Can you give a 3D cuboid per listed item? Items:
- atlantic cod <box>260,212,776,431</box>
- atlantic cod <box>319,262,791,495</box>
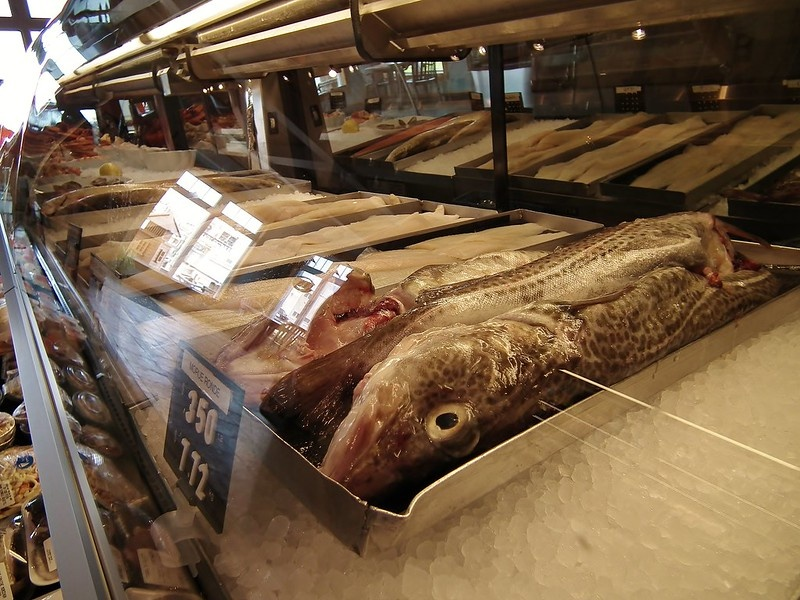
[{"bbox_3d":[0.049,-0.112,1.289,1.225,0.436,0.898,-10,16,-31],"label":"atlantic cod"},{"bbox_3d":[0.496,0.106,1.036,1.469,0.326,0.249,-9,42,-13],"label":"atlantic cod"}]
